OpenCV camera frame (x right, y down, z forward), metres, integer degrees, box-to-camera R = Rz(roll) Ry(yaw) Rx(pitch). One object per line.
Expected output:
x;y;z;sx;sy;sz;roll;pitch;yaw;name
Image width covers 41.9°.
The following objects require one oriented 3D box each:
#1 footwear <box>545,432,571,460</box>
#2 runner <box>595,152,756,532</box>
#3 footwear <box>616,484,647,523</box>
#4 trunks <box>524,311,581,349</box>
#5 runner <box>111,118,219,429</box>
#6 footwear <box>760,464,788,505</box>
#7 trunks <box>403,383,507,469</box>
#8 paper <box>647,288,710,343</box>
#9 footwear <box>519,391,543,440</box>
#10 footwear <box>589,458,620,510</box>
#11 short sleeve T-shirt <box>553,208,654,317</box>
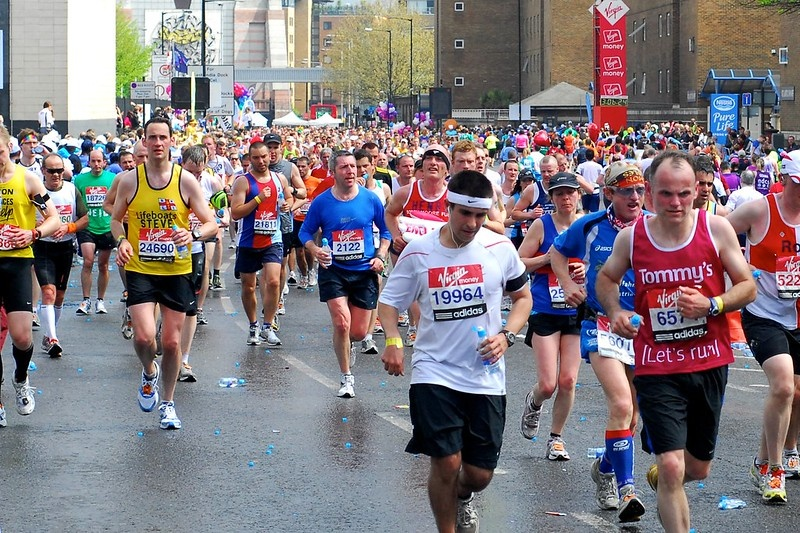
1.396;1.593;9.269;0.115;0.143;0.291;0;-1;-6;footwear
1.873;0.446;7.187;0.713;2.440;0.819;-7;11;-34;runner
1.714;1.763;7.774;0.133;0.170;0.344;-2;-8;-4;footwear
1.380;0.512;9.305;0.534;0.376;0.304;0;-1;-7;trunks
-2.192;0.081;9.786;0.881;2.890;0.546;-3;9;-15;runner
2.964;1.695;8.267;0.188;0.262;0.227;3;10;19;footwear
0.382;1.068;7.235;0.827;0.667;0.502;8;-13;-20;trunks
1.877;0.316;7.001;0.352;0.351;0.050;-1;3;4;paper
1.219;1.376;9.515;0.154;0.484;0.187;-1;7;-21;footwear
1.585;1.701;8.139;0.145;0.426;0.190;-5;-11;-1;footwear
1.558;-0.015;7.937;0.867;0.814;0.431;2;-3;-13;short sleeve T-shirt
